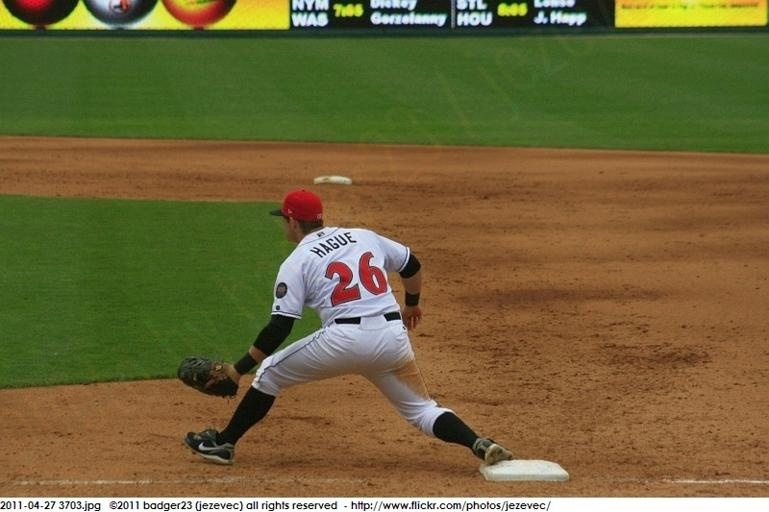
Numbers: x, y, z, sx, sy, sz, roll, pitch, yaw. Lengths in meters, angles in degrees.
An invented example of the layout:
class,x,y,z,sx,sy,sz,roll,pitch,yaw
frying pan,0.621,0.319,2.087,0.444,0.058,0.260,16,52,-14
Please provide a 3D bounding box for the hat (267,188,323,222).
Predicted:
class,x,y,z,sx,sy,sz,roll,pitch,yaw
hat,-1.358,-0.784,21.016,0.768,0.344,0.487,6,10,14

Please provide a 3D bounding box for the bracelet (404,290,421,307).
class,x,y,z,sx,sy,sz,roll,pitch,yaw
bracelet,0.410,0.648,21.351,0.256,0.208,0.224,-2,0,-2
